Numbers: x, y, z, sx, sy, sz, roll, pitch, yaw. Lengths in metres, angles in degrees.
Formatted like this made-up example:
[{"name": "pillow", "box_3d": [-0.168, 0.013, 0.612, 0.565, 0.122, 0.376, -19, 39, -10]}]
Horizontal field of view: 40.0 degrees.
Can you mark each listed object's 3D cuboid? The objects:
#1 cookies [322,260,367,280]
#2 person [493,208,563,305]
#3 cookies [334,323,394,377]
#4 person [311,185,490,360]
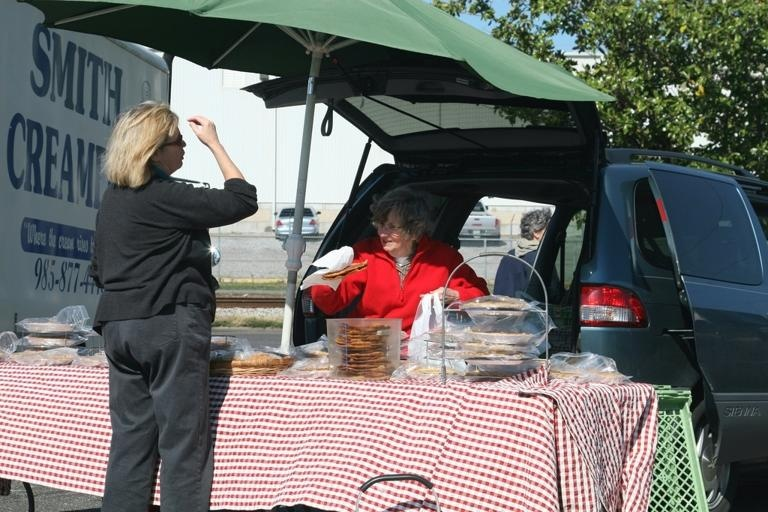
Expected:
[{"name": "cookies", "box_3d": [-0.245, 0.097, 6.791, 0.339, 0.109, 0.107, -9, 28, -14]}, {"name": "person", "box_3d": [1.163, 0.055, 8.854, 0.403, 0.979, 0.982, 1, 0, -35]}, {"name": "cookies", "box_3d": [-0.117, 0.560, 6.483, 0.371, 0.379, 0.274, -2, -5, 15]}, {"name": "person", "box_3d": [0.103, 0.097, 7.632, 1.215, 1.550, 1.005, -1, -7, 11]}]
